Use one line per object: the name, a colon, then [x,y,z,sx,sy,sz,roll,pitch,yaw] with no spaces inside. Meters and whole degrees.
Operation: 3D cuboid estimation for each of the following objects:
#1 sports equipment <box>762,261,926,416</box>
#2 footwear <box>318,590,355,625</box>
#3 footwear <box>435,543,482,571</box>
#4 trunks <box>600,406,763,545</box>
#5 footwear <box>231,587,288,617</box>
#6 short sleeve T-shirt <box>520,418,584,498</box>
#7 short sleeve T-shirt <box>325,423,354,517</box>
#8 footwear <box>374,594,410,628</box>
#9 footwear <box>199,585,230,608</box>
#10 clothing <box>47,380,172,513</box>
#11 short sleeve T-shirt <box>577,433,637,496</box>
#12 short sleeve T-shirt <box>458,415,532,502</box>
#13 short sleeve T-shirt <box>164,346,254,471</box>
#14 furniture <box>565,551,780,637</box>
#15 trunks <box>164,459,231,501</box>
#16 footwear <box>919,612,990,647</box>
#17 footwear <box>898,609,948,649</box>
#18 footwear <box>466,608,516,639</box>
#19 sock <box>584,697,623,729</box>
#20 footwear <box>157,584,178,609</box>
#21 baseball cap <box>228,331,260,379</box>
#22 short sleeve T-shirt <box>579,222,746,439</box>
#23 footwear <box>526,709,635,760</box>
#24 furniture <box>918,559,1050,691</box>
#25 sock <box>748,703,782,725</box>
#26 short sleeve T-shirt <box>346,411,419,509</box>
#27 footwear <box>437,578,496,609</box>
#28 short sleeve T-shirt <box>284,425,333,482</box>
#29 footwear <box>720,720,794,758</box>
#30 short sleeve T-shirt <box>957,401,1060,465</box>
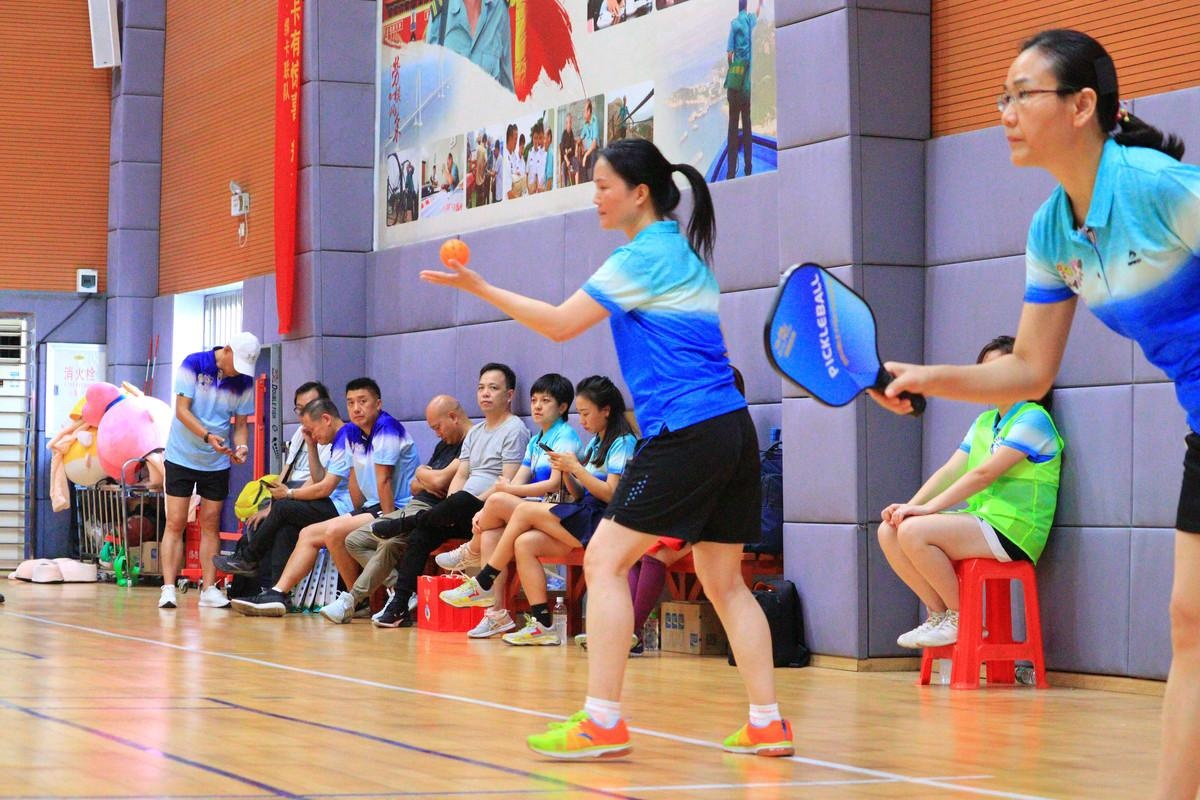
sports equipment: [0.562,-0.152,2.538,0.499,0.282,0.070,33,-32,-18]
footwear: [-1.912,1.534,7.520,0.130,0.163,0.358,29,4,16]
footwear: [-0.965,1.119,7.042,0.424,0.152,0.196,-4,-24,-1]
trunks: [0.349,0.251,3.638,0.680,0.516,0.328,4,1,-33]
footwear: [-2.580,1.603,7.928,0.487,0.218,0.181,5,-41,4]
short sleeve T-shirt: [-0.325,0.331,7.050,0.251,0.444,0.517,-25,26,-36]
short sleeve T-shirt: [-2.136,0.565,8.356,0.279,0.847,0.413,2,0,-6]
footwear: [-1.470,1.549,7.401,0.359,0.237,0.146,7,-6,-35]
footwear: [-3.230,1.668,8.528,0.143,0.128,0.325,4,-8,-42]
clothing: [-5.232,0.561,10.892,1.548,1.117,1.050,-18,4,35]
short sleeve T-shirt: [0.014,0.396,6.602,0.220,0.360,0.371,-1,1,-39]
short sleeve T-shirt: [-0.811,0.449,7.554,0.565,0.654,0.364,-2,-12,36]
short sleeve T-shirt: [-3.224,0.005,8.679,0.655,0.928,0.389,15,30,-7]
furniture: [0.553,1.151,6.448,0.996,0.242,0.410,-10,-14,20]
trunks: [-3.361,0.732,8.485,0.567,0.396,0.325,5,-9,-18]
footwear: [1.811,1.192,5.257,0.422,0.177,0.140,0,-3,-10]
footwear: [1.748,1.199,5.323,0.346,0.148,0.117,0,4,-17]
footwear: [-0.719,1.532,6.932,0.372,0.168,0.135,-2,-8,-41]
sock: [0.015,1.039,3.420,0.116,0.116,0.089,16,-6,13]
footwear: [-3.567,1.630,8.371,0.142,0.142,0.359,0,-10,-10]
baseball cap: [-2.920,-0.413,8.448,0.260,0.389,0.214,6,-32,-46]
short sleeve T-shirt: [0.218,-0.264,3.543,0.550,0.798,0.255,-1,-4,3]
footwear: [-0.051,1.145,3.482,0.393,0.186,0.139,3,-9,-10]
furniture: [1.998,1.153,5.492,0.679,0.868,0.686,-6,-9,29]
sock: [0.576,1.111,3.595,0.077,0.071,0.094,1,-10,-45]
short sleeve T-shirt: [-1.734,0.505,8.152,0.471,0.765,0.661,5,-14,-43]
footwear: [-0.872,1.300,6.793,0.400,0.197,0.168,3,-4,-3]
short sleeve T-shirt: [-2.430,0.469,8.530,0.264,0.451,0.413,7,-10,-35]
footwear: [0.552,1.190,3.617,0.240,0.108,0.112,-3,-9,42]
short sleeve T-shirt: [2.185,0.208,5.445,0.357,0.390,0.547,6,-4,-18]
